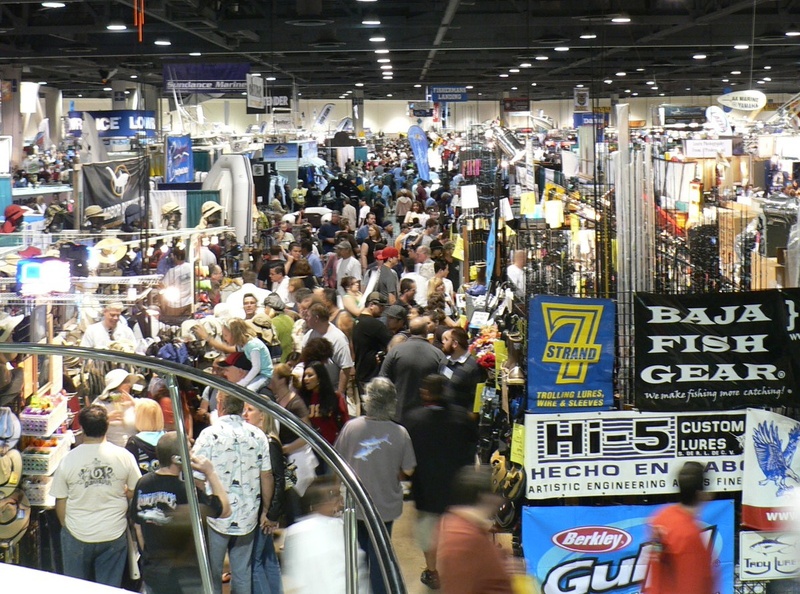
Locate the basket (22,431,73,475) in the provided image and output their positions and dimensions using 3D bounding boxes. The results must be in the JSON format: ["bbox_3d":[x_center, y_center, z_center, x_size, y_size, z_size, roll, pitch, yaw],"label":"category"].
[{"bbox_3d":[-2.176,0.939,5.018,0.222,0.080,0.368,1,9,-3],"label":"basket"}]

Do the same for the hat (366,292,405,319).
[{"bbox_3d":[-0.096,0.066,7.190,0.380,0.178,0.223,-17,6,-3],"label":"hat"}]

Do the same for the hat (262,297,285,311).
[{"bbox_3d":[-1.144,0.058,7.365,0.160,0.068,0.115,19,17,34],"label":"hat"}]
